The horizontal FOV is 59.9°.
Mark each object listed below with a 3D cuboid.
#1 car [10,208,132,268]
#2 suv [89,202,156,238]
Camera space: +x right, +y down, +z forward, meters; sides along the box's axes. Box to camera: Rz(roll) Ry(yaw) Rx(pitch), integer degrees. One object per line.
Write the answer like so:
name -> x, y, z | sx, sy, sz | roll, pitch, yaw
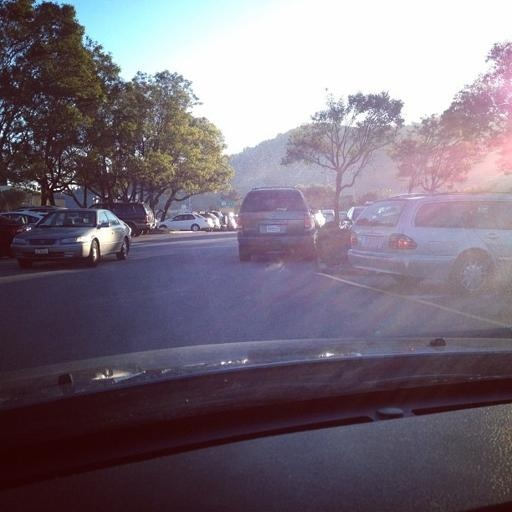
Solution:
car -> -6.677, -0.710, 16.144 | 3.989, 2.111, 2.733 | -2, 5, -37
suv -> -12.872, -3.574, 42.877 | 5.188, 2.858, 2.798 | 3, 1, -6
